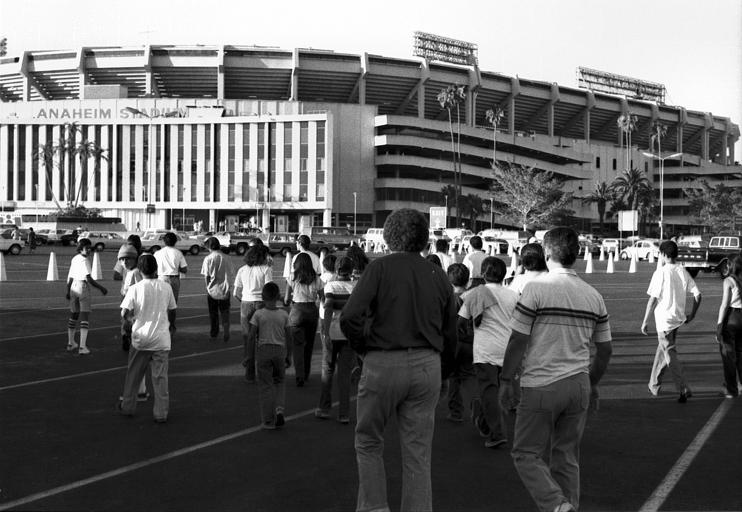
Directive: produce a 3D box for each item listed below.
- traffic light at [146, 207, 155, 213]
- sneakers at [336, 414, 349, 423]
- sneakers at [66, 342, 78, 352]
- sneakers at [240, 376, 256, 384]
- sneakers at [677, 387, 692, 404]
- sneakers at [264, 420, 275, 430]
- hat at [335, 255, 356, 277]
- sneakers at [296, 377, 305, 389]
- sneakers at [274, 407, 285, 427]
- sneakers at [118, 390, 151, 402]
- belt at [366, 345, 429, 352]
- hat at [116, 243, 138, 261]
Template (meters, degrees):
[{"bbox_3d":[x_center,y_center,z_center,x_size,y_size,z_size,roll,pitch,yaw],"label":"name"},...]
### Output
[{"bbox_3d":[-17.823,-3.778,77.585,0.641,0.607,0.155,3,9,16],"label":"traffic light"},{"bbox_3d":[-0.399,2.393,13.975,0.124,0.086,0.115,1,-3,-12],"label":"sneakers"},{"bbox_3d":[-5.767,1.767,18.514,0.129,0.200,0.274,0,9,5],"label":"sneakers"},{"bbox_3d":[-2.026,2.061,16.002,0.185,0.134,0.104,-1,3,5],"label":"sneakers"},{"bbox_3d":[4.931,2.195,15.061,0.204,0.237,0.305,2,3,18],"label":"sneakers"},{"bbox_3d":[-1.440,2.435,13.658,0.140,0.102,0.055,-6,11,-2],"label":"sneakers"},{"bbox_3d":[-0.392,0.160,14.561,0.231,0.276,0.317,1,7,5],"label":"hat"},{"bbox_3d":[-1.173,2.134,16.003,0.156,0.150,0.143,5,-6,-6],"label":"sneakers"},{"bbox_3d":[-1.299,2.309,13.696,0.091,0.280,0.118,-3,-4,-1],"label":"sneakers"},{"bbox_3d":[-3.679,2.203,15.032,0.478,0.210,0.177,1,-7,2],"label":"sneakers"},{"bbox_3d":[0.306,1.075,10.974,0.690,0.082,0.092,1,3,2],"label":"belt"},{"bbox_3d":[-4.511,-0.094,17.805,0.323,0.209,0.396,-4,-8,-2],"label":"hat"}]
